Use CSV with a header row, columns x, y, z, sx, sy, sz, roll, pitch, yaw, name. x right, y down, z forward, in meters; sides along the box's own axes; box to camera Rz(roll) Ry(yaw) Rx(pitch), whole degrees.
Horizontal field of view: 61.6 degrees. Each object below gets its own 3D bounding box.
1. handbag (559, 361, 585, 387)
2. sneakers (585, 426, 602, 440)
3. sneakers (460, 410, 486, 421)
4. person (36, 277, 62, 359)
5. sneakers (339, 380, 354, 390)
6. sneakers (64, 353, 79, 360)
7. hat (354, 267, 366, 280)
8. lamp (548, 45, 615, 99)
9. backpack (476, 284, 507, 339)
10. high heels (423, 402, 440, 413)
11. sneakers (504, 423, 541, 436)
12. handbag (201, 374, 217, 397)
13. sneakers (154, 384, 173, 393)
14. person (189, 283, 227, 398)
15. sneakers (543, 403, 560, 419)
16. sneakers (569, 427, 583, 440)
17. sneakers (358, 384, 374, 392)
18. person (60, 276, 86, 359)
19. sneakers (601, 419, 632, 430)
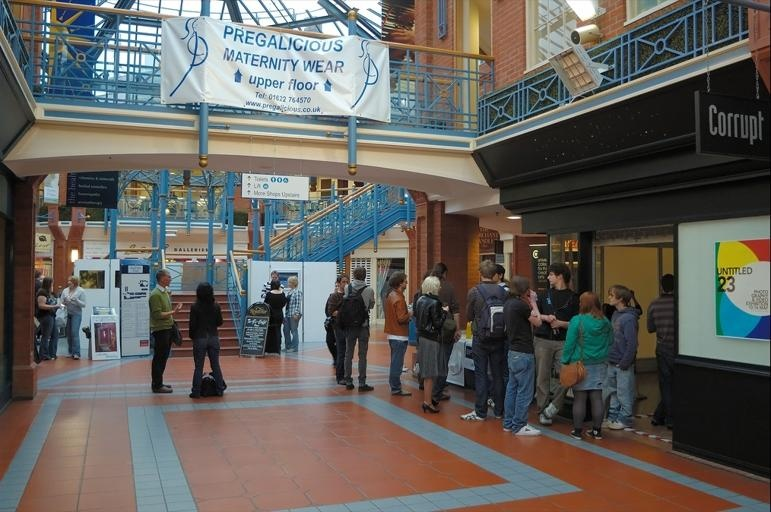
x,y,z,sx,sy,sz,roll,pitch,yaw,name
2.662,1.685,9.181,0.140,0.392,0.385,5,-4,-38,handbag
3.045,2.578,9.435,0.211,0.162,0.278,2,-2,17,sneakers
1.396,2.528,10.267,0.372,0.165,0.148,5,-4,-1,sneakers
-7.882,1.490,15.111,0.504,1.344,1.502,4,-3,-26,person
-0.743,2.478,12.345,0.137,0.268,0.424,0,-12,6,sneakers
-7.494,2.440,15.551,0.288,0.126,0.110,6,1,20,sneakers
-0.468,0.334,12.032,0.179,0.226,0.230,2,9,0,hat
2.913,-2.849,9.918,0.725,0.610,0.514,4,-3,-18,lamp
1.668,0.879,10.084,0.465,0.857,0.490,3,-3,-3,backpack
0.780,2.498,10.626,0.262,0.111,0.135,-1,1,-45,high heels
2.016,2.577,9.531,0.509,0.209,0.192,-3,-5,14,sneakers
-3.131,2.348,11.724,0.262,0.383,0.350,5,7,20,handbag
-4.069,2.456,11.952,0.341,0.148,0.124,0,1,-12,sneakers
-3.208,1.524,11.640,0.540,2.045,0.645,2,-3,20,person
2.530,2.416,10.009,0.171,0.304,0.263,5,-3,-34,sneakers
2.757,2.578,9.433,0.095,0.168,0.245,0,7,-5,sneakers
-0.357,2.471,12.032,0.296,0.131,0.100,-1,-1,-15,sneakers
-7.636,1.497,15.805,0.502,1.336,1.002,4,-3,-25,person
3.528,2.566,9.839,0.361,0.159,0.147,-2,0,4,sneakers
